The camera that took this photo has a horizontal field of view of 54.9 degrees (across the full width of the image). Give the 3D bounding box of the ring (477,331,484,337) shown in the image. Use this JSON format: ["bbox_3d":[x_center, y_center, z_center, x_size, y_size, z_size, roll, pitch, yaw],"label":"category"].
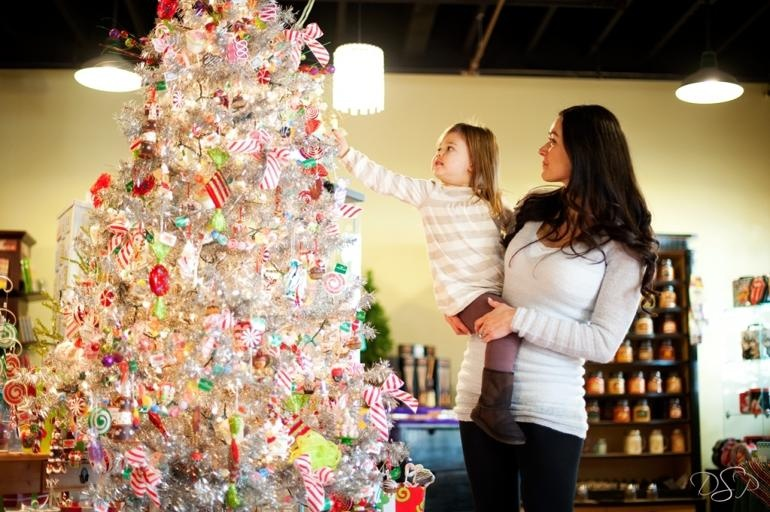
[{"bbox_3d":[0.447,0.360,3.412,0.026,0.025,0.047,-9,-11,9],"label":"ring"}]

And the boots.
[{"bbox_3d":[0.530,0.673,3.325,0.145,0.284,0.300,-4,16,-39],"label":"boots"}]

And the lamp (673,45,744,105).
[{"bbox_3d":[2.474,-1.413,5.660,0.473,0.287,0.452,-1,5,-14],"label":"lamp"}]
